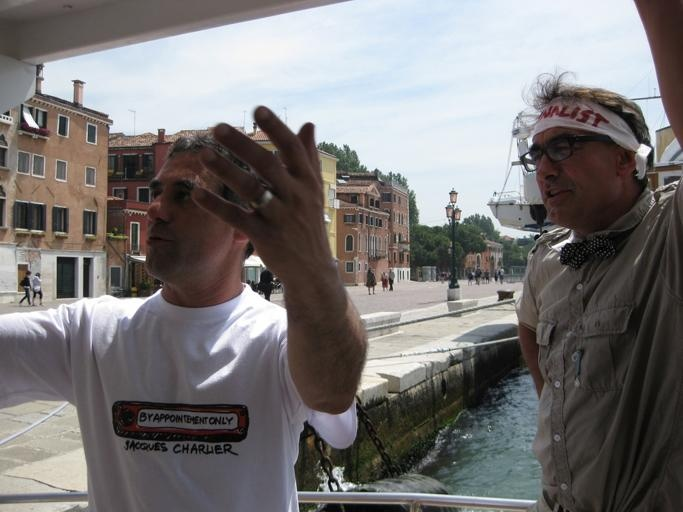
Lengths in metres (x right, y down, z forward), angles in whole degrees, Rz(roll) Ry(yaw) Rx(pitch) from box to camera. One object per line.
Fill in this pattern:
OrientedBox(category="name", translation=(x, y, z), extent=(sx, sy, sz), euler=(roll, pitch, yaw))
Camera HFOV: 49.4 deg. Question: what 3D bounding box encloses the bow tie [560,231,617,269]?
OrientedBox(category="bow tie", translation=(1.084, -0.020, 3.246), extent=(0.157, 0.061, 0.162), euler=(-23, -2, 32))
